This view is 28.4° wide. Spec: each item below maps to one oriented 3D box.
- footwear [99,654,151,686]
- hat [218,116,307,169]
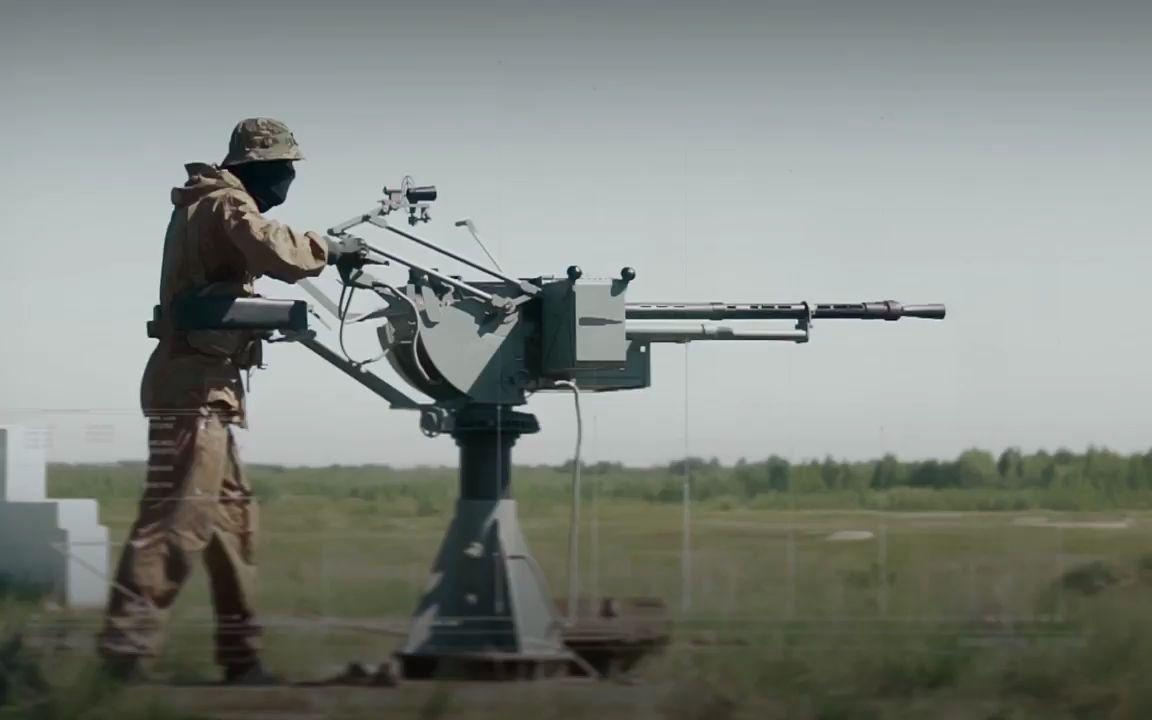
[{"bbox_3d":[-2.971,2.031,14.929,0.241,0.199,0.075,-5,-5,-12],"label":"footwear"},{"bbox_3d":[-2.085,-1.476,15.290,0.654,0.290,0.500,-5,9,-12],"label":"hat"}]
